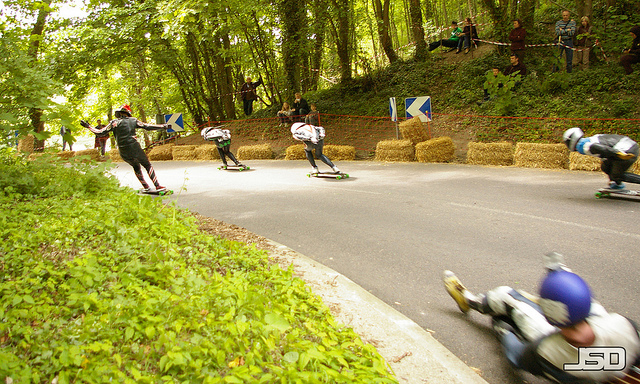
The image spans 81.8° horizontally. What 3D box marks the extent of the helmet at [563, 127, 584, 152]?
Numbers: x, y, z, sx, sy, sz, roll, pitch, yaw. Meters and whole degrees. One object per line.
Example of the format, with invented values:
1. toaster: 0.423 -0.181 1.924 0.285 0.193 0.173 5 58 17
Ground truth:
1. helmet: 6.367 -1.318 9.271 0.354 0.549 0.366 -15 16 -37

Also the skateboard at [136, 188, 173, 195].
1. skateboard: -5.329 -0.020 11.855 0.912 0.307 0.283 -1 3 5

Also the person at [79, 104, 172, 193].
1. person: -6.206 -1.430 12.307 1.720 2.914 1.106 -6 13 -5

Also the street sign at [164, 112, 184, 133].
1. street sign: -9.524 -4.540 23.997 1.306 1.138 0.834 5 16 38

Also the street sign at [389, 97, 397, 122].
1. street sign: 3.447 -3.953 17.456 0.232 1.058 0.705 -1 13 17

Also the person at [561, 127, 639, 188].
1. person: 7.058 -1.073 9.382 2.134 1.303 1.138 17 50 42
